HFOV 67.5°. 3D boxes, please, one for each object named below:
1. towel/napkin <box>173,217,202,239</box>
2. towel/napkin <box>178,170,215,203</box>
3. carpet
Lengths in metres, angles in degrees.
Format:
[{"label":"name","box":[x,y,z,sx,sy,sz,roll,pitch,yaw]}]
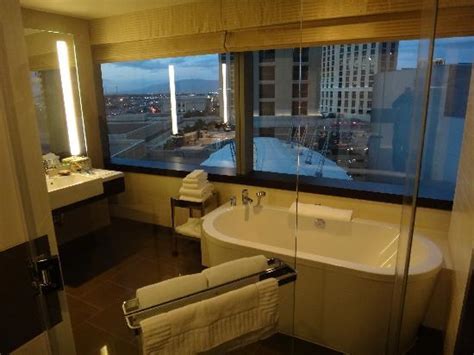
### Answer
[{"label":"towel/napkin","box":[-0.245,0.263,1.921,0.104,0.041,0.110,4,15,14]},{"label":"towel/napkin","box":[-0.232,0.071,2.018,0.162,0.100,0.196,-14,13,-43]},{"label":"carpet","box":[-0.630,0.337,1.641,0.069,0.243,0.398,10,22,35]}]
